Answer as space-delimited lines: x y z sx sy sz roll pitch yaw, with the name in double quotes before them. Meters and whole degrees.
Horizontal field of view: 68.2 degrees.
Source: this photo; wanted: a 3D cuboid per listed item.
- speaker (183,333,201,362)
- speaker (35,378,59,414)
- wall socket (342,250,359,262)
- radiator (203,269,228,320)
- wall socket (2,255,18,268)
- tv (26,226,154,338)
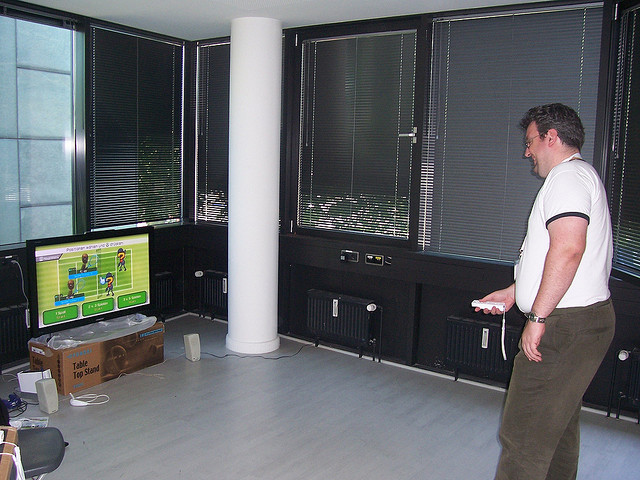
"speaker" -1.215 1.008 4.491 0.141 0.244 0.168 -1 12 -15
"speaker" -2.057 1.166 3.575 0.139 0.249 0.160 -7 15 -36
"wall socket" 0.292 0.154 4.620 0.170 0.112 0.036 8 13 29
"radiator" -1.221 0.652 5.512 0.359 0.573 0.080 10 14 33
"wall socket" -2.676 0.181 4.060 0.026 0.098 0.101 8 6 32
"tv" -1.953 0.381 4.010 0.076 0.711 1.022 3 5 36
